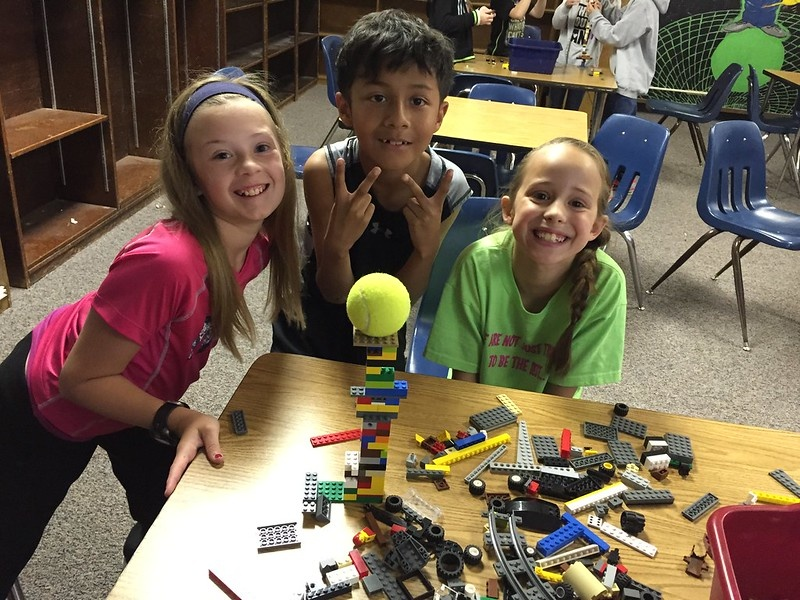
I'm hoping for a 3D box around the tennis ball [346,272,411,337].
[{"bbox_3d":[-0.033,0.008,0.877,0.088,0.101,0.091,0,6,0],"label":"tennis ball"}]

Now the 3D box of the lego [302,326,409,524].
[{"bbox_3d":[-0.077,0.202,0.935,0.161,0.265,0.107,4,-7,2],"label":"lego"}]

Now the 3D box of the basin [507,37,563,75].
[{"bbox_3d":[0.941,-1.676,3.956,0.306,0.155,0.248,6,42,-2],"label":"basin"}]

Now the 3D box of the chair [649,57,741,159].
[{"bbox_3d":[2.385,-1.542,4.662,0.521,0.737,0.417,12,26,15],"label":"chair"}]

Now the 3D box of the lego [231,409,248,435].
[{"bbox_3d":[-0.289,0.222,1.016,0.027,0.013,0.057,-3,41,-16],"label":"lego"}]

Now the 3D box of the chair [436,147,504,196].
[{"bbox_3d":[0.262,-0.479,2.319,0.181,0.237,0.301,5,8,3],"label":"chair"}]
